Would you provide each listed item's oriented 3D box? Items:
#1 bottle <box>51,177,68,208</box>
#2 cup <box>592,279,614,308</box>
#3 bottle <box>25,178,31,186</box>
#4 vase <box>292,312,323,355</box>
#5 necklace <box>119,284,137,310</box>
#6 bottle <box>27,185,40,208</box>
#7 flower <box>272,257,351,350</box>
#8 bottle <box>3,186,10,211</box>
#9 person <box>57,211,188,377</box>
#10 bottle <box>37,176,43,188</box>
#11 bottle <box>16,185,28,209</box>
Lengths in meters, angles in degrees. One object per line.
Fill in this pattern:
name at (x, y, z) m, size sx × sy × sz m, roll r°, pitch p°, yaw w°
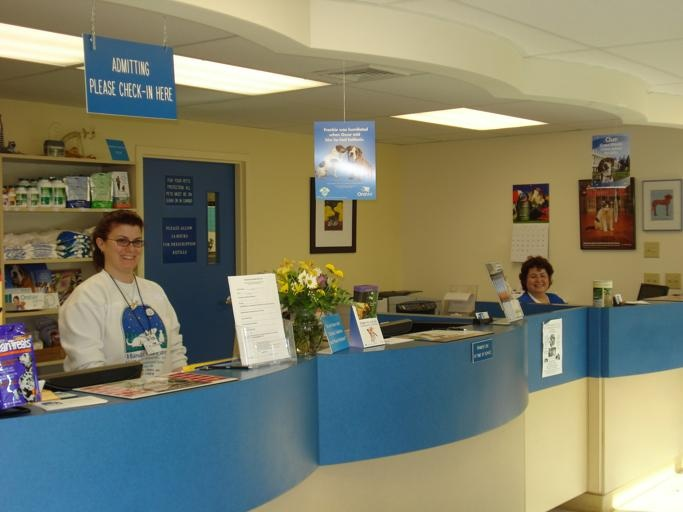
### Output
bottle at (-2.512, -0.566, 4.530) m, size 0.118 × 0.252 × 0.104 m, roll -5°, pitch 7°, yaw -29°
cup at (2.126, 0.301, 4.088) m, size 0.192 × 0.215 × 0.190 m, roll 1°, pitch 1°, yaw 0°
bottle at (-2.728, -0.655, 4.437) m, size 0.048 × 0.044 × 0.049 m, roll -2°, pitch -4°, yaw 32°
vase at (-0.143, 0.348, 2.372) m, size 0.106 × 0.190 × 0.196 m, roll 4°, pitch 8°, yaw 45°
necklace at (-1.172, 0.216, 2.818) m, size 0.032 × 0.131 × 0.097 m, roll -27°, pitch -1°, yaw 35°
bottle at (-2.680, -0.524, 4.423) m, size 0.064 × 0.187 × 0.105 m, roll -2°, pitch 6°, yaw -1°
flower at (-0.152, 0.253, 2.459) m, size 0.353 × 0.405 × 0.377 m, roll 5°, pitch -5°, yaw 34°
bottle at (-2.820, -0.494, 4.284) m, size 0.056 × 0.188 × 0.202 m, roll -6°, pitch 7°, yaw -32°
person at (-1.209, 0.231, 2.845) m, size 0.549 × 0.943 × 0.647 m, roll 8°, pitch 8°, yaw 25°
bottle at (-2.680, -0.655, 4.528) m, size 0.046 × 0.102 × 0.163 m, roll -5°, pitch 7°, yaw -29°
bottle at (-2.735, -0.516, 4.355) m, size 0.094 × 0.184 × 0.089 m, roll -2°, pitch 6°, yaw 0°
